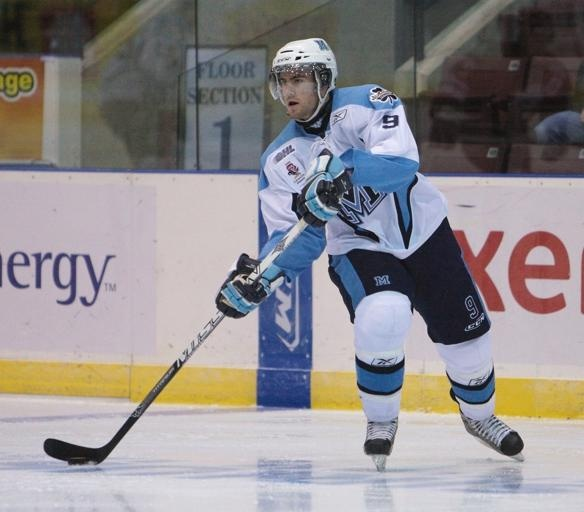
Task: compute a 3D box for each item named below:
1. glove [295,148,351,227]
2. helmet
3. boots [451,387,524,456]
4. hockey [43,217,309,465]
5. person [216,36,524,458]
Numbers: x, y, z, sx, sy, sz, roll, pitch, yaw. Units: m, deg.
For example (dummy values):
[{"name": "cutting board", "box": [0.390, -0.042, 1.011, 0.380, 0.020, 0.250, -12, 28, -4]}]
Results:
[{"name": "glove", "box": [0.127, -0.270, 5.036, 0.191, 0.280, 0.113, 8, -3, 21]}, {"name": "helmet", "box": [0.069, -0.785, 5.362, 0.290, 0.284, 0.250, -4, 4, -42]}, {"name": "boots", "box": [0.858, 0.748, 5.452, 0.115, 0.170, 0.388, -21, 15, -21]}, {"name": "hockey", "box": [-0.496, 0.419, 6.008, 0.182, 1.304, 0.151, 38, -13, 30]}, {"name": "person", "box": [0.329, -0.016, 5.290, 1.206, 1.779, 0.458, 0, 5, -5]}]
